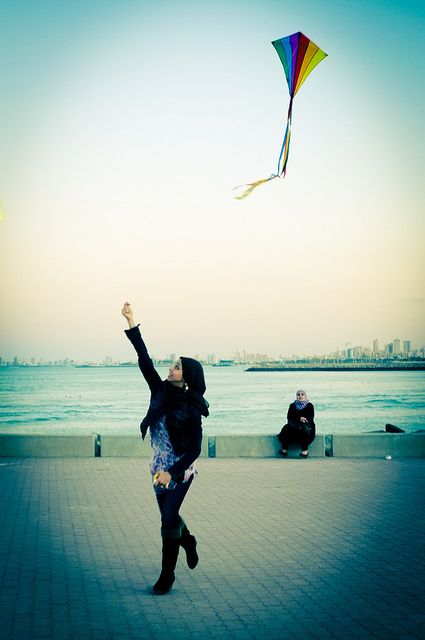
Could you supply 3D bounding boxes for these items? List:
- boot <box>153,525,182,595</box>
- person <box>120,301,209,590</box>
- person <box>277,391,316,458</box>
[{"bbox_3d":[-0.328,1.762,4.201,0.224,0.566,0.322,-2,-1,-5],"label":"boot"},{"bbox_3d":[-0.305,0.967,4.244,0.477,2.157,0.488,-1,-1,-38],"label":"person"},{"bbox_3d":[1.683,2.111,11.452,0.710,0.887,0.629,-2,-1,16],"label":"person"}]
